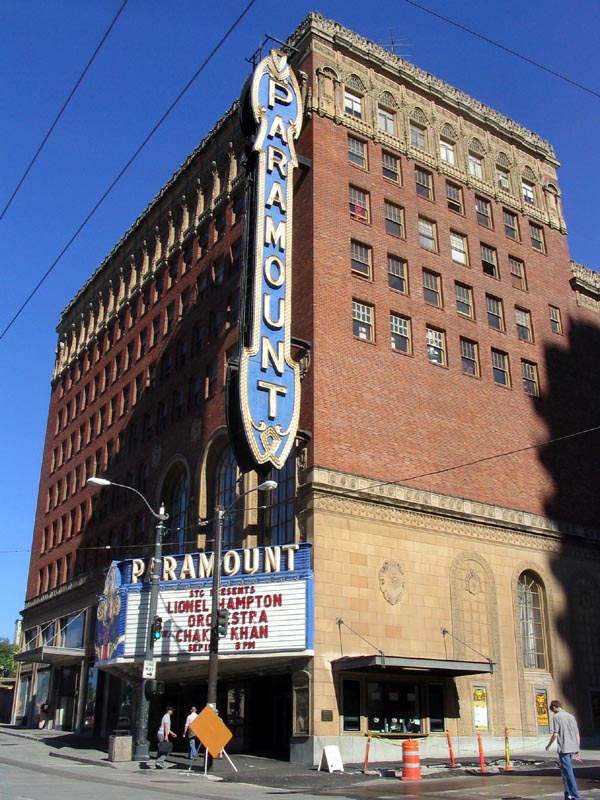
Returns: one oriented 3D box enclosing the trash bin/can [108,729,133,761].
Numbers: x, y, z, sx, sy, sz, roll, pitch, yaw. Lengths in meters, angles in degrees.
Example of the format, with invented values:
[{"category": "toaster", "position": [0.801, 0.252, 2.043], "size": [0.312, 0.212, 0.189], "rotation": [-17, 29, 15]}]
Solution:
[{"category": "trash bin/can", "position": [-5.894, 11.433, 24.232], "size": [0.740, 0.765, 1.050], "rotation": [3, -22, -10]}]
